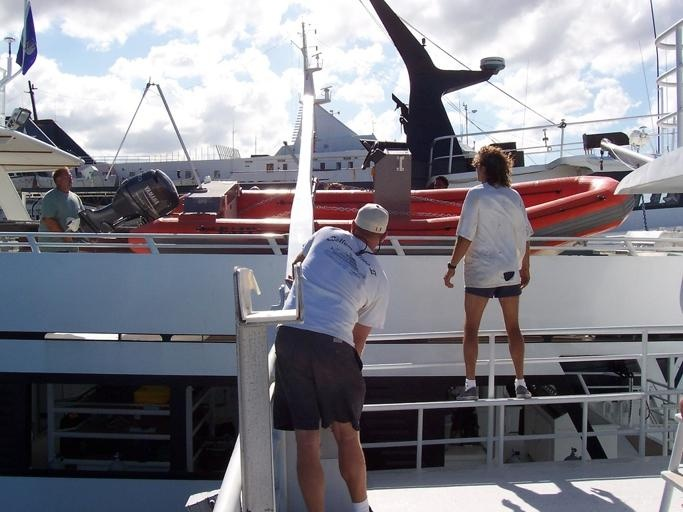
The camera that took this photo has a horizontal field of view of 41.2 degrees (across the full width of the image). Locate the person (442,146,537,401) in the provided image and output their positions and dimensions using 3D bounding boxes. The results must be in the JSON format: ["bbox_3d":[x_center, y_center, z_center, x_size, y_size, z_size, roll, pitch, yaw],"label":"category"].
[{"bbox_3d":[1.604,0.165,9.685,0.893,2.709,0.409,-2,-5,6],"label":"person"}]

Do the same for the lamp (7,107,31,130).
[{"bbox_3d":[-4.466,-1.853,12.451,0.300,0.378,0.664,0,-6,-21],"label":"lamp"}]

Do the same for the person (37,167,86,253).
[{"bbox_3d":[-3.598,-0.607,11.614,0.536,1.136,0.627,0,-6,-19],"label":"person"}]

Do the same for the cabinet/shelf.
[{"bbox_3d":[-2.889,2.152,12.549,2.251,1.211,2.355,2,2,17],"label":"cabinet/shelf"}]

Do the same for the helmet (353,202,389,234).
[{"bbox_3d":[0.316,-0.379,8.834,0.243,0.259,0.314,-7,16,-42],"label":"helmet"}]
